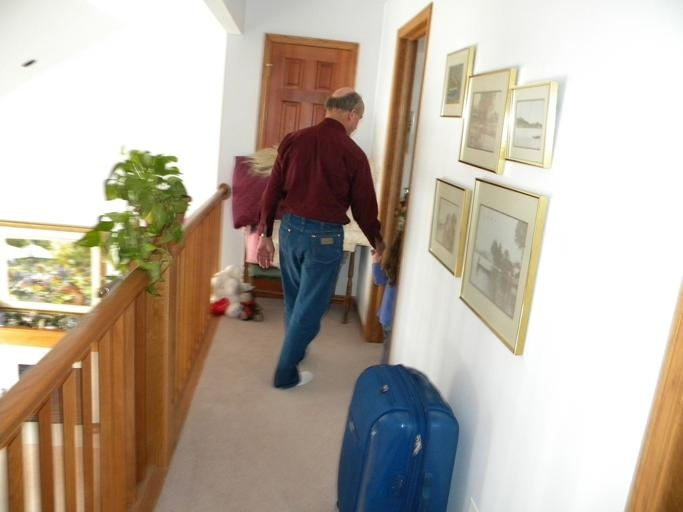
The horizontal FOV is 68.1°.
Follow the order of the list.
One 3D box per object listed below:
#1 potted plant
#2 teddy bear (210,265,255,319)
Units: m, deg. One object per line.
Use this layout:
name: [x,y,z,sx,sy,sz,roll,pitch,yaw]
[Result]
potted plant: [-0.827,-0.127,2.101,0.387,0.618,0.483,-1,10,-16]
teddy bear: [-0.986,0.277,4.561,0.441,0.221,0.604,1,44,-20]
